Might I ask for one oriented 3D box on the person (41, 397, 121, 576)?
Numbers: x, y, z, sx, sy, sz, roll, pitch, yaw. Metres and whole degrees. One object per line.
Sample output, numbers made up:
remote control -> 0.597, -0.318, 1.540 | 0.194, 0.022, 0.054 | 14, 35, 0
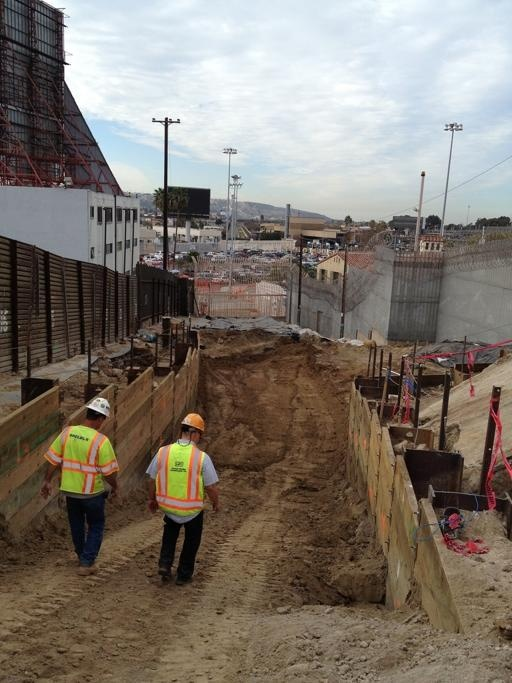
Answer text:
person -> -1.542, 1.243, 4.441 | 0.636, 1.498, 0.393 | 9, -7, -14

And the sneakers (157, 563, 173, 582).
sneakers -> -0.819, 2.099, 4.596 | 0.089, 0.192, 0.134 | 1, 16, 3

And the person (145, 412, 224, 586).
person -> -0.666, 1.425, 4.529 | 0.647, 1.554, 0.591 | 7, -6, -1

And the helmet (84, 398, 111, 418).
helmet -> -1.389, 0.596, 4.485 | 0.160, 0.113, 0.202 | 25, -6, 2

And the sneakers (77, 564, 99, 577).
sneakers -> -1.449, 1.978, 4.400 | 0.071, 0.085, 0.202 | 6, 5, 38
